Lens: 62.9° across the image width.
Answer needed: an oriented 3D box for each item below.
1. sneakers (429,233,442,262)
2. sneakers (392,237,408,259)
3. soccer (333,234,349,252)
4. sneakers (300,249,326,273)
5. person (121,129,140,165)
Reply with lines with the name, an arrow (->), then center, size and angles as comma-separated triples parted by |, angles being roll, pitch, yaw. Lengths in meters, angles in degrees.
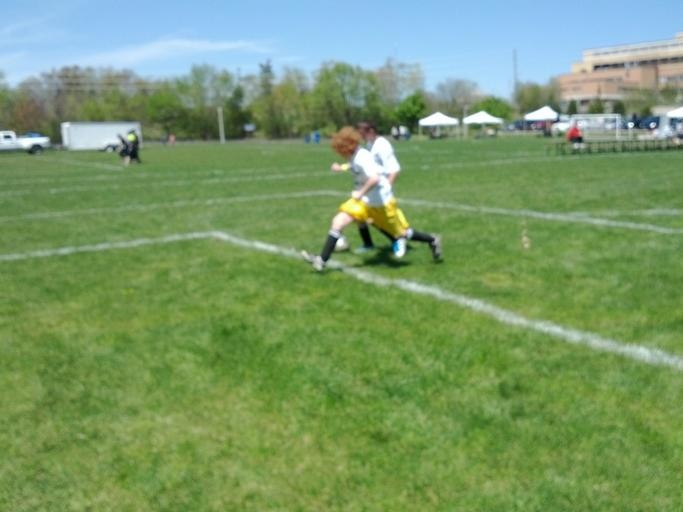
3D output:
sneakers -> 1.254, -0.119, 7.499 | 0.143, 0.371, 0.140 | -4, 14, 13
sneakers -> 0.785, -0.120, 7.545 | 0.219, 0.288, 0.682 | -3, 3, 7
soccer -> -0.004, -0.200, 8.044 | 0.198, 0.247, 0.207 | -6, 35, 6
sneakers -> -0.344, 0.059, 6.926 | 0.273, 0.275, 0.269 | 0, 12, 2
person -> -10.091, -5.451, 26.672 | 1.039, 1.715, 0.819 | -8, 57, -26
